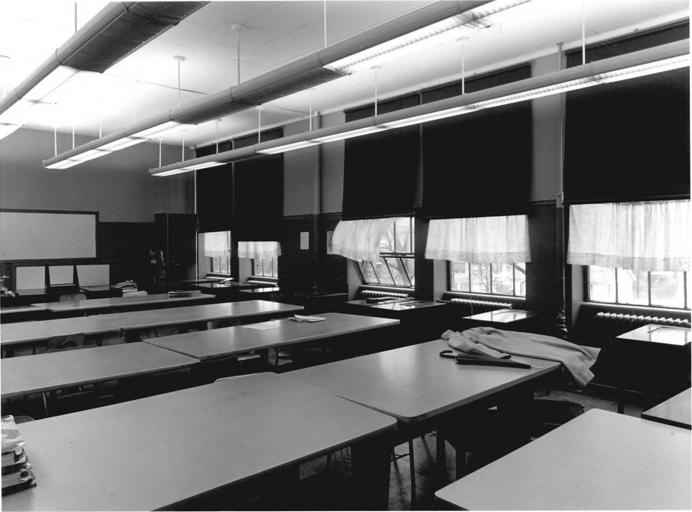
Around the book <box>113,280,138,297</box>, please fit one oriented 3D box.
[{"bbox_3d":[-4.260,0.636,10.761,0.549,0.218,0.422,2,21,-33],"label":"book"}]
